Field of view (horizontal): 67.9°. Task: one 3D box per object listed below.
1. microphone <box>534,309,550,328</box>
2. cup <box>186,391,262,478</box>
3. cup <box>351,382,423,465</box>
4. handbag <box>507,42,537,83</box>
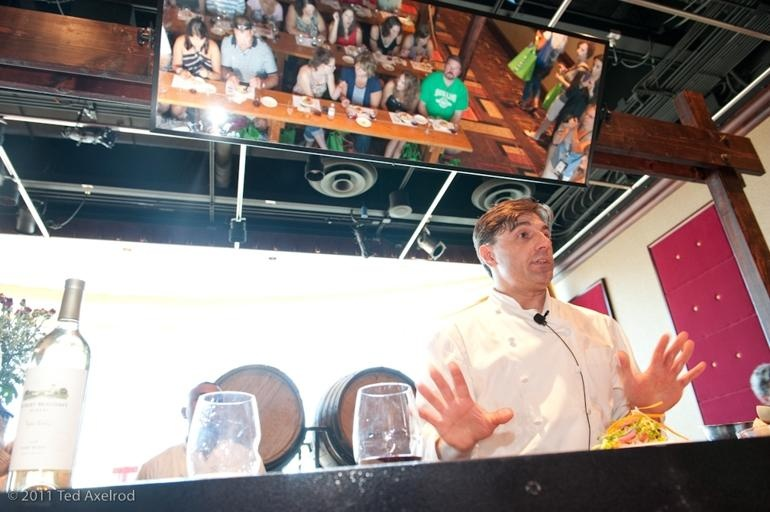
[{"bbox_3d":[0.771,0.307,2.821,0.076,0.059,0.026,-13,-46,-46],"label":"microphone"},{"bbox_3d":[-0.513,0.579,1.934,0.275,0.264,0.271,0,-15,0],"label":"cup"},{"bbox_3d":[-0.008,0.572,2.013,0.270,0.261,0.266,-1,-18,0],"label":"cup"},{"bbox_3d":[0.894,-1.269,3.793,0.135,0.220,0.083,37,5,-11],"label":"handbag"}]
